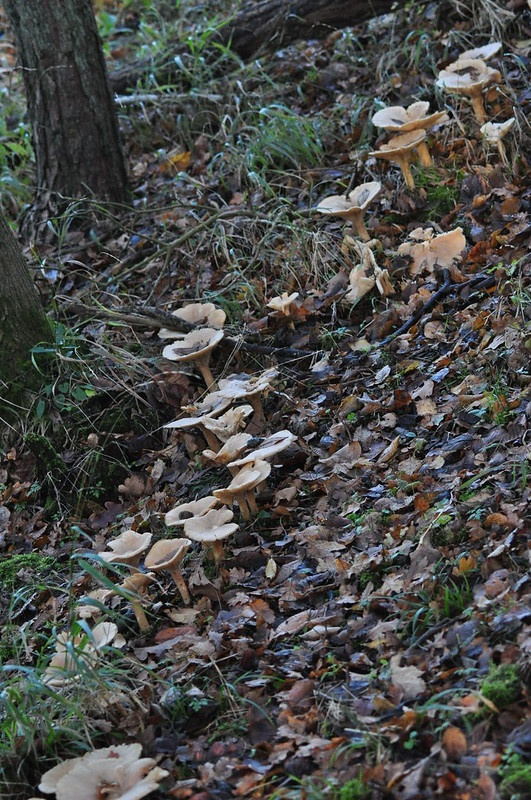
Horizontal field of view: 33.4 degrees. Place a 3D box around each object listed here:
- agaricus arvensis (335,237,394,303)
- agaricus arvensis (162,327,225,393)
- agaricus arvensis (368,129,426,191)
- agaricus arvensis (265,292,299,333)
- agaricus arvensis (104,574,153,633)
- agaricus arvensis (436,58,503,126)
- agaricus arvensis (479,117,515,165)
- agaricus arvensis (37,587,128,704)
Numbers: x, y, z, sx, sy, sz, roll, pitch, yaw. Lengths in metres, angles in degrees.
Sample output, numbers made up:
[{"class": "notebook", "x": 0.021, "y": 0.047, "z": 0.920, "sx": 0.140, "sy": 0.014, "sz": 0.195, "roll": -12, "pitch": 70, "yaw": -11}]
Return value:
[{"class": "agaricus arvensis", "x": 0.615, "y": -0.889, "z": 5.980, "sx": 0.304, "sy": 0.433, "sz": 0.535, "roll": -17, "pitch": 14, "yaw": -2}, {"class": "agaricus arvensis", "x": -0.419, "y": -0.207, "z": 5.692, "sx": 0.368, "sy": 0.336, "sz": 0.352, "roll": -9, "pitch": 24, "yaw": 23}, {"class": "agaricus arvensis", "x": 0.970, "y": -1.667, "z": 6.226, "sx": 0.405, "sy": 0.313, "sz": 0.440, "roll": -17, "pitch": 4, "yaw": -34}, {"class": "agaricus arvensis", "x": 0.128, "y": -0.595, "z": 5.995, "sx": 0.189, "sy": 0.269, "sz": 0.345, "roll": -16, "pitch": 14, "yaw": 2}, {"class": "agaricus arvensis", "x": -0.640, "y": 1.036, "z": 4.504, "sx": 0.307, "sy": 0.315, "sz": 0.253, "roll": -3, "pitch": -10, "yaw": -7}, {"class": "agaricus arvensis", "x": 1.432, "y": -2.200, "z": 6.297, "sx": 0.381, "sy": 0.473, "sz": 0.404, "roll": -12, "pitch": 15, "yaw": 14}, {"class": "agaricus arvensis", "x": 1.629, "y": -1.797, "z": 6.138, "sx": 0.234, "sy": 0.301, "sz": 0.364, "roll": -13, "pitch": 14, "yaw": 12}, {"class": "agaricus arvensis", "x": -0.846, "y": 1.172, "z": 4.146, "sx": 0.465, "sy": 0.210, "sz": 0.453, "roll": -42, "pitch": 16, "yaw": 8}]
